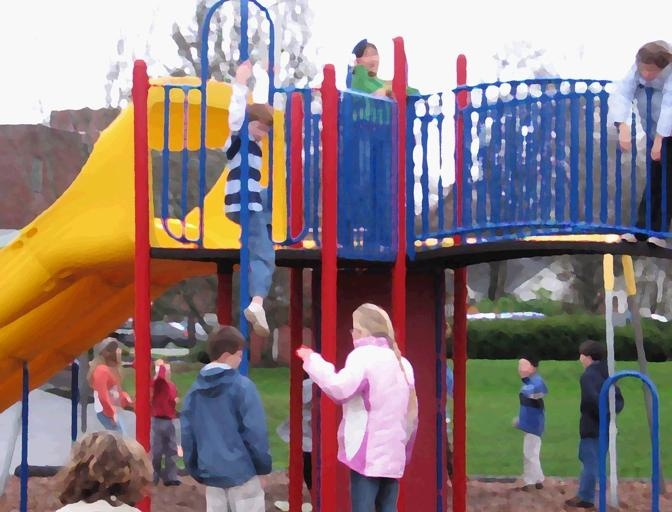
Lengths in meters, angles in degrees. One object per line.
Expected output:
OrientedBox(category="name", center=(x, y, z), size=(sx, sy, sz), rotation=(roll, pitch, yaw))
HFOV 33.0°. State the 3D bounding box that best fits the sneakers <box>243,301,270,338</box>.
OrientedBox(category="sneakers", center=(-0.758, 0.628, 11.564), size=(0.183, 0.401, 0.253), rotation=(-27, -5, 18))
